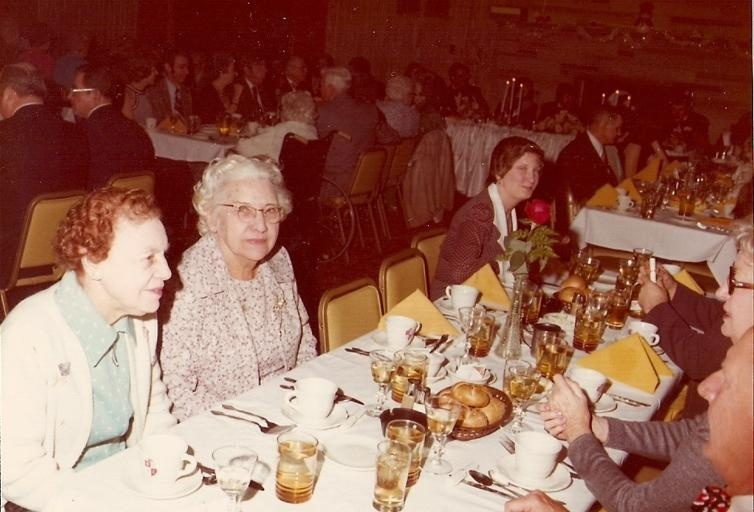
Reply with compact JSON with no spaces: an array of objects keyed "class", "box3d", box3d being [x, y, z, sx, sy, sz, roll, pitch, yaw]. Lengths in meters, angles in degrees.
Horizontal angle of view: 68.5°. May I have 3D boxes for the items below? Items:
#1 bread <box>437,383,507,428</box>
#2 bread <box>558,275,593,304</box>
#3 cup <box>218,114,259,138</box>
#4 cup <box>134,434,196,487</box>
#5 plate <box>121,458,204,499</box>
[{"class":"bread","box3d":[0.340,0.503,1.888,0.178,0.062,0.171,16,31,32]},{"class":"bread","box3d":[1.087,0.180,3.063,0.114,0.112,0.209,31,36,26]},{"class":"cup","box3d":[-1.507,-1.401,6.056,0.413,0.191,0.402,3,18,-1]},{"class":"cup","box3d":[-0.581,0.564,1.541,0.137,0.088,0.109,16,12,-9]},{"class":"plate","box3d":[-0.592,0.610,1.508,0.222,0.046,0.129,3,18,-2]}]
